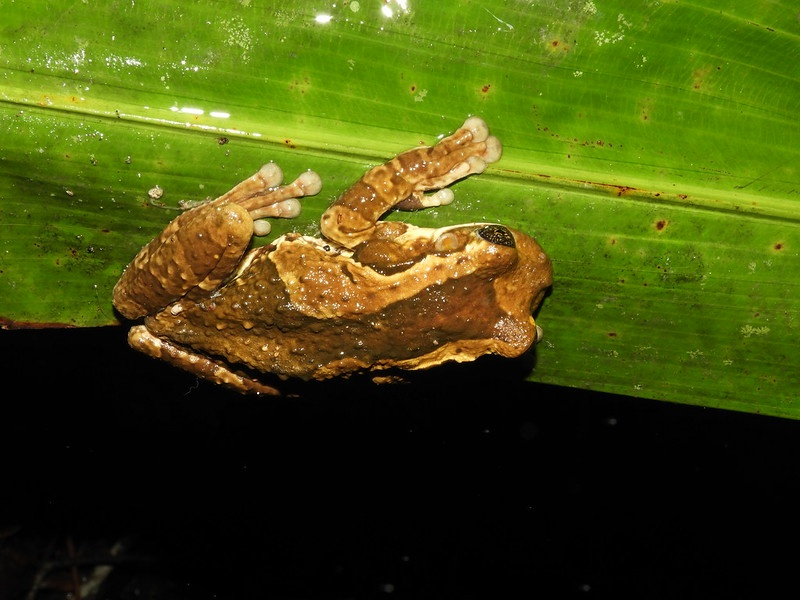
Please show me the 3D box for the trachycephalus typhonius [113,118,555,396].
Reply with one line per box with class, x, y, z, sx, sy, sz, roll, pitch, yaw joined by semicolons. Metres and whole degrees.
trachycephalus typhonius;-0.486;-0.150;5.502;2.264;3.661;1.870;-9;105;-18
